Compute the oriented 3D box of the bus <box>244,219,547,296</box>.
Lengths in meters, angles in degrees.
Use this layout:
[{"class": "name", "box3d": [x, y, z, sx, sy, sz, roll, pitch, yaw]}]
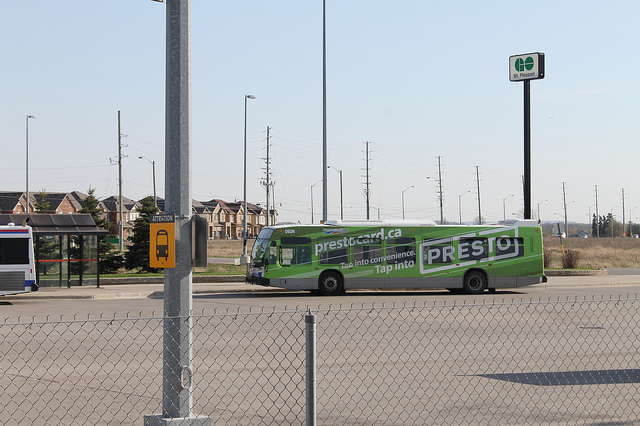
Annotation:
[{"class": "bus", "box3d": [3.255, 1.962, 43.596, 11.928, 3.135, 2.883, 1, -13, -13]}]
